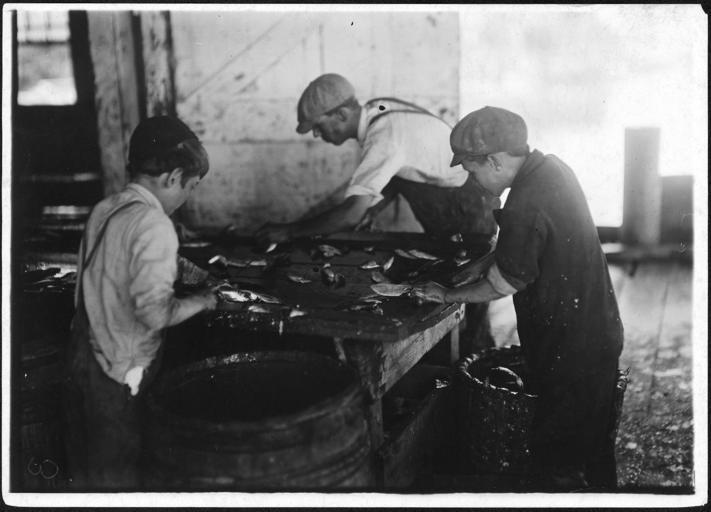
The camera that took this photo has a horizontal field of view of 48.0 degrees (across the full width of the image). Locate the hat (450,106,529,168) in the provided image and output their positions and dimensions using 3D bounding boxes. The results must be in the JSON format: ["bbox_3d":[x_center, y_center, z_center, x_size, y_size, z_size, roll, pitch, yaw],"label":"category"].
[{"bbox_3d":[0.740,-0.696,4.705,0.550,0.368,0.458,-12,8,2],"label":"hat"}]

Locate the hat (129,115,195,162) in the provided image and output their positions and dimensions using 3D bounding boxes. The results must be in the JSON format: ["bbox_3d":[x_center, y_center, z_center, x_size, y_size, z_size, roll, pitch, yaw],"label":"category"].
[{"bbox_3d":[-1.123,-0.676,4.572,0.322,0.188,0.234,-33,29,-29],"label":"hat"}]

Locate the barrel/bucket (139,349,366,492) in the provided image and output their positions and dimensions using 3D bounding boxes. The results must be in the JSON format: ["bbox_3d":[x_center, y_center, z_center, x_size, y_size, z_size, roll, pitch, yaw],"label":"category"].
[{"bbox_3d":[-0.529,0.872,4.180,0.782,0.933,0.852,-2,8,0],"label":"barrel/bucket"}]

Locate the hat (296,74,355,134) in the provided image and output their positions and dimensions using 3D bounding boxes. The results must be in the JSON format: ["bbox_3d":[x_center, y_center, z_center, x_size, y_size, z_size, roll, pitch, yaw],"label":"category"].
[{"bbox_3d":[-0.214,-1.043,5.456,0.348,0.213,0.285,-26,29,36],"label":"hat"}]

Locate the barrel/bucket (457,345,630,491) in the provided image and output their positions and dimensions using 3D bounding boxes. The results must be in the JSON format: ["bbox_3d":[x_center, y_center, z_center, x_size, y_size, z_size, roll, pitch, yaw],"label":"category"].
[{"bbox_3d":[1.163,0.904,4.850,0.795,0.953,0.732,0,0,0],"label":"barrel/bucket"}]

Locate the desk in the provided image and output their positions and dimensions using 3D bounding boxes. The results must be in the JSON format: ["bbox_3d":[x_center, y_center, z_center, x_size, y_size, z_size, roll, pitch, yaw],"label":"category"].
[{"bbox_3d":[-0.078,0.915,5.039,1.650,1.250,1.926,-8,-22,20],"label":"desk"}]
